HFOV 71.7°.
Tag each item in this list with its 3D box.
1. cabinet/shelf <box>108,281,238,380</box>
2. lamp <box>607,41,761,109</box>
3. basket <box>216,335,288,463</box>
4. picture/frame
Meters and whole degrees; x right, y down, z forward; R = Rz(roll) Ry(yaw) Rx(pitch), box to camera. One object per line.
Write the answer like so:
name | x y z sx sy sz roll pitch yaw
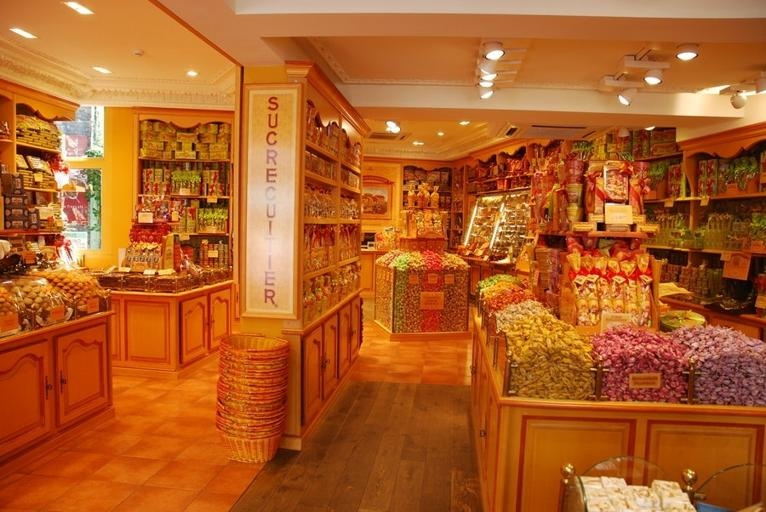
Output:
cabinet/shelf | -2.674 0.839 6.747 1.037 1.042 1.812 0 4 0
lamp | 3.127 -1.845 5.571 1.708 0.470 1.152 -5 14 -29
basket | -1.171 1.313 4.755 0.621 1.027 0.290 0 12 -11
picture/frame | -1.040 -0.508 4.914 0.522 2.092 0.445 2 12 -2
